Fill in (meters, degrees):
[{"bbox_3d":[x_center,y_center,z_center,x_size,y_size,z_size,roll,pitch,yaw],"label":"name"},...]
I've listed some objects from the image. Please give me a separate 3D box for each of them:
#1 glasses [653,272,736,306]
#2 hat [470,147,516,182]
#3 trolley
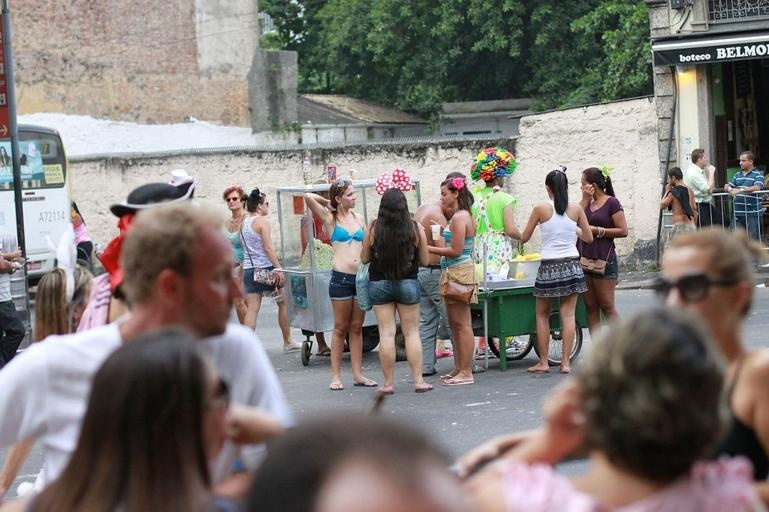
[{"bbox_3d":[2.167,0.226,8.417,0.562,0.202,0.075,-1,10,10],"label":"glasses"},{"bbox_3d":[1.302,-1.096,14.780,0.487,0.355,0.485,-13,9,-10],"label":"hat"},{"bbox_3d":[1.707,0.705,14.541,1.666,1.219,1.060,-3,2,-19],"label":"trolley"}]
